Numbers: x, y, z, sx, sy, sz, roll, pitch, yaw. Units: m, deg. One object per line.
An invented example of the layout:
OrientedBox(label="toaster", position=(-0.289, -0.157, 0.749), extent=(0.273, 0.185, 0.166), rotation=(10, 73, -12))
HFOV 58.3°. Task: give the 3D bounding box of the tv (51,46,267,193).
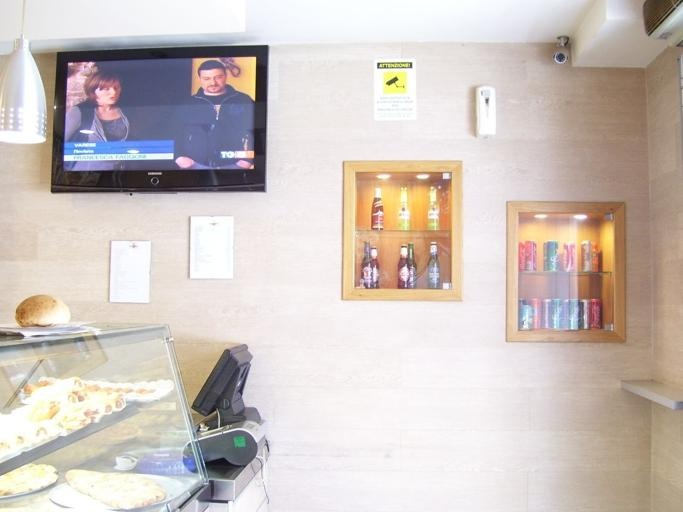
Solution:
OrientedBox(label="tv", position=(-0.936, -0.728, 3.299), extent=(0.831, 0.544, 0.081), rotation=(0, -1, 4))

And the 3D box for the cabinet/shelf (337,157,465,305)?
OrientedBox(label="cabinet/shelf", position=(0.321, -0.117, 3.308), extent=(0.807, 0.880, 0.314), rotation=(1, -4, 2))

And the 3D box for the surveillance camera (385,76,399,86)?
OrientedBox(label="surveillance camera", position=(0.276, -0.959, 3.342), extent=(0.061, 0.034, 0.014), rotation=(-28, -6, 7))

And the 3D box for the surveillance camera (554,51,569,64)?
OrientedBox(label="surveillance camera", position=(1.182, -1.073, 3.301), extent=(0.081, 0.064, 0.041), rotation=(0, 1, 10))

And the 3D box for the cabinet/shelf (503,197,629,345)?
OrientedBox(label="cabinet/shelf", position=(1.199, 0.102, 3.280), extent=(0.803, 0.928, 0.337), rotation=(1, -2, 2))

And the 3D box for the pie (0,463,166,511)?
OrientedBox(label="pie", position=(-0.856, 0.873, 2.286), extent=(0.300, 0.040, 0.172), rotation=(12, 7, -3))
